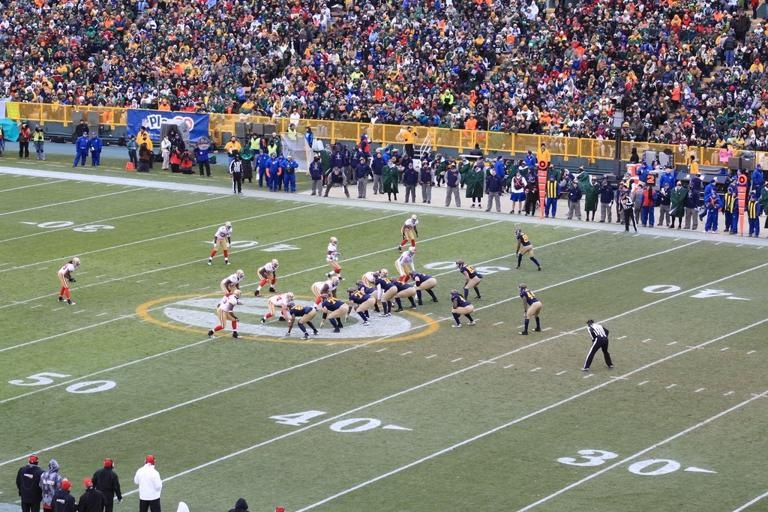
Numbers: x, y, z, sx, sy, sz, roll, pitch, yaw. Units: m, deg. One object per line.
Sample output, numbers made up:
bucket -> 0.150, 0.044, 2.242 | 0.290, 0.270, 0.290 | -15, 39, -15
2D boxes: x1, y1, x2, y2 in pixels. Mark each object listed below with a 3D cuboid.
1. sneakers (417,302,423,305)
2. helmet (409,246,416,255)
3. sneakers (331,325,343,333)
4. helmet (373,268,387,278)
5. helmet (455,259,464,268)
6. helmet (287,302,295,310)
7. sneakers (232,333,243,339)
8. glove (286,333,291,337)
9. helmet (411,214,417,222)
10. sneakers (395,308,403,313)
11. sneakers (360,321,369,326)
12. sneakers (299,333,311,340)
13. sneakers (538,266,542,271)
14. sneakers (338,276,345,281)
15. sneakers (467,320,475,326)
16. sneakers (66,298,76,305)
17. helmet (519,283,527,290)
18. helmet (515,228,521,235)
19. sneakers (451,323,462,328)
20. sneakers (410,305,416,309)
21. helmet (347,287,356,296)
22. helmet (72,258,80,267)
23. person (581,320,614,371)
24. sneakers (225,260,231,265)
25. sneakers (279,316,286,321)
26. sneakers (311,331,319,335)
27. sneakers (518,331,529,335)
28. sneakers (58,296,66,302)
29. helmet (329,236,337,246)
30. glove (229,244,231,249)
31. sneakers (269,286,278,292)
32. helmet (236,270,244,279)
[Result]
sneakers -> 1.251, 1.626, 53.058 | 0.127, 0.100, 0.226 | 1, 14, 2
helmet -> 1.057, -0.122, 53.567 | 0.257, 0.246, 0.263 | -4, 27, -5
sneakers -> -1.440, 2.367, 50.724 | 0.294, 0.233, 0.127 | 9, 22, 18
helmet -> -0.071, 0.600, 51.772 | 0.430, 0.279, 0.541 | -1, 14, -6
helmet -> 2.527, 0.315, 52.344 | 0.280, 0.227, 0.193 | -1, 10, -9
helmet -> -2.812, 1.599, 49.803 | 0.167, 0.184, 0.180 | -25, 44, -30
sneakers -> -4.527, 2.550, 50.131 | 0.276, 0.220, 0.113 | 1, 24, -1
glove -> -2.945, 2.526, 50.337 | 0.117, 0.093, 0.181 | -1, 14, -3
helmet -> 1.123, -1.271, 56.664 | 0.245, 0.247, 0.273 | 0, 9, -2
sneakers -> 0.536, 1.872, 52.569 | 0.217, 0.062, 0.134 | 11, 14, -5
sneakers -> -0.533, 2.217, 51.421 | 0.272, 0.101, 0.319 | -1, 13, -5
sneakers -> -2.394, 2.573, 50.169 | 0.319, 0.182, 0.106 | 5, 18, 23
sneakers -> 5.466, 0.491, 56.020 | 0.136, 0.161, 0.108 | 20, 36, 40
sneakers -> -1.369, 0.825, 54.567 | 0.247, 0.128, 0.075 | 2, 15, 13
sneakers -> 2.859, 2.182, 51.032 | 0.203, 0.168, 0.208 | 0, 14, -2
sneakers -> -10.230, 1.575, 52.814 | 0.367, 0.224, 0.107 | 5, 47, -20
helmet -> 4.441, 1.009, 50.161 | 0.217, 0.226, 0.252 | 0, -3, -10
helmet -> 4.783, -0.804, 56.798 | 0.224, 0.241, 0.260 | -3, 23, -10
sneakers -> 2.346, 2.249, 51.015 | 0.312, 0.103, 0.262 | 0, 13, 0
sneakers -> 1.008, 1.744, 52.757 | 0.201, 0.084, 0.247 | 1, 13, 3
helmet -> -0.977, 1.202, 51.046 | 0.220, 0.208, 0.242 | 0, -6, -30
helmet -> -10.140, 0.270, 53.162 | 0.243, 0.279, 0.302 | -4, 28, -34
person -> 6.443, 2.633, 47.780 | 0.861, 1.619, 1.150 | 3, 15, 9
sneakers -> -5.476, 0.269, 56.711 | 0.276, 0.167, 0.108 | -1, 43, 2
sneakers -> -3.239, 2.078, 51.636 | 0.304, 0.138, 0.228 | 8, -4, -6
sneakers -> -2.126, 2.494, 50.476 | 0.131, 0.126, 0.328 | 2, -2, -1
sneakers -> 4.391, 2.456, 50.252 | 0.289, 0.164, 0.102 | 7, 20, 21
sneakers -> -10.595, 1.478, 53.097 | 0.288, 0.158, 0.107 | -1, 18, -7
helmet -> -1.590, -0.474, 54.700 | 0.257, 0.253, 0.282 | 2, -4, -13
glove -> -5.576, -0.313, 58.800 | 0.046, 0.135, 0.154 | -5, 10, 38
sneakers -> -3.674, 1.170, 53.917 | 0.316, 0.194, 0.113 | -18, 30, -37
helmet -> -4.518, 0.648, 50.869 | 0.281, 0.144, 0.348 | 10, 8, -28
